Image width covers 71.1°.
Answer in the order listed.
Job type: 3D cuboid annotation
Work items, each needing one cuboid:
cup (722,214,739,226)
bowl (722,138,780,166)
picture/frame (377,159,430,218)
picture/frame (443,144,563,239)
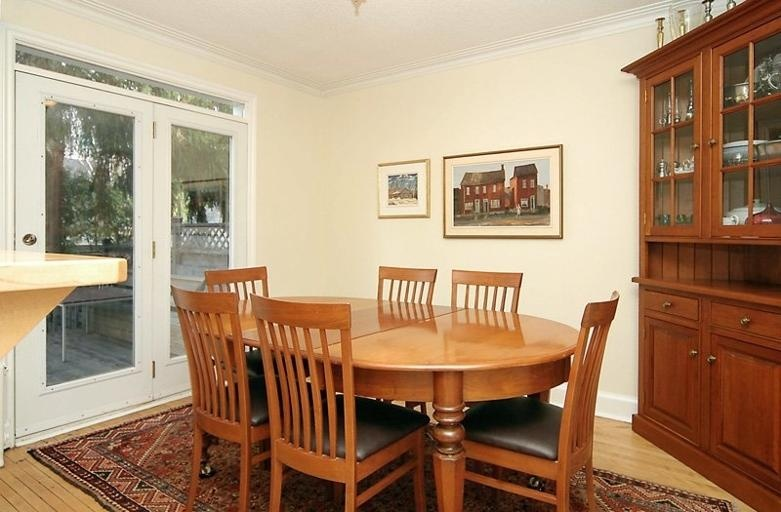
[{"bbox_3d":[2.450,-0.251,3.910,0.082,0.061,0.075,1,0,0],"label":"cup"},{"bbox_3d":[2.533,-0.727,3.823,0.043,0.167,0.354,-5,4,-33],"label":"bowl"},{"bbox_3d":[0.176,-0.722,5.894,0.676,0.652,0.032,-1,-2,35],"label":"picture/frame"},{"bbox_3d":[1.151,-0.622,5.317,0.998,0.703,0.035,-1,-2,30],"label":"picture/frame"}]
